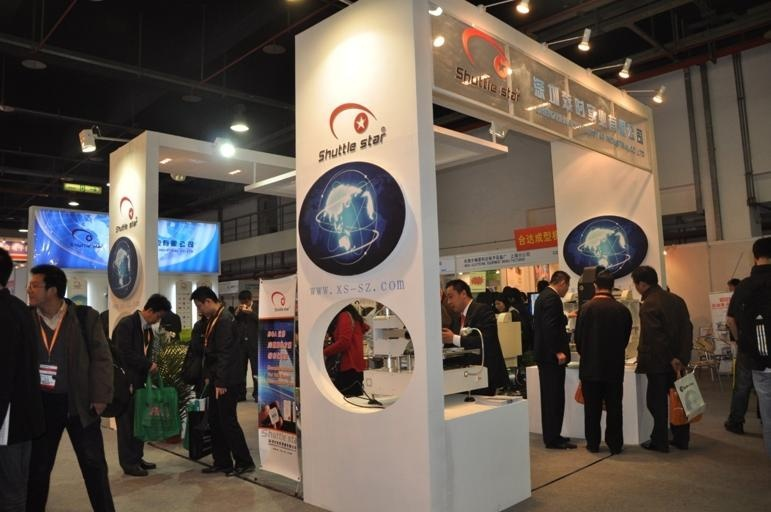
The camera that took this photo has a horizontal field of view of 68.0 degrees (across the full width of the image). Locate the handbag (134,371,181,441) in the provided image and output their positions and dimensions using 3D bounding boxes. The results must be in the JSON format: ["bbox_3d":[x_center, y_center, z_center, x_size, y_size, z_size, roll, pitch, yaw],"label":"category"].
[{"bbox_3d":[-2.647,1.730,6.590,0.491,0.791,0.323,-2,0,-23],"label":"handbag"}]

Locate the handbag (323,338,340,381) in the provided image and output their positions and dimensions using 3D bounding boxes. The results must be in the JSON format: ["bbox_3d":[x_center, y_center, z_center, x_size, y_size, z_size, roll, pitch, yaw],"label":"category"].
[{"bbox_3d":[-0.599,1.176,6.430,0.172,0.482,0.447,3,26,-8],"label":"handbag"}]

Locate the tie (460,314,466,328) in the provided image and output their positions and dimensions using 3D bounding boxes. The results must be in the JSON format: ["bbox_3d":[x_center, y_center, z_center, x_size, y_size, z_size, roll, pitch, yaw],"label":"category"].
[{"bbox_3d":[0.857,0.706,6.221,0.041,0.140,0.031,3,-13,25],"label":"tie"}]

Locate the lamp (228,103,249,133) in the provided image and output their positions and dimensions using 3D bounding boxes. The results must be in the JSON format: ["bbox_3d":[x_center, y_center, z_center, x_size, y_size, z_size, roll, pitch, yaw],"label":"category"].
[{"bbox_3d":[-2.551,-2.428,9.966,0.238,0.524,0.632,-2,0,-14],"label":"lamp"}]

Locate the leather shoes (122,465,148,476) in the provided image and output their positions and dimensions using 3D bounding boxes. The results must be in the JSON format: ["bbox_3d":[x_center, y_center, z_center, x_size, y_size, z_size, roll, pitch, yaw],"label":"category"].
[{"bbox_3d":[-2.816,2.416,6.432,0.235,0.090,0.122,0,-9,0],"label":"leather shoes"}]

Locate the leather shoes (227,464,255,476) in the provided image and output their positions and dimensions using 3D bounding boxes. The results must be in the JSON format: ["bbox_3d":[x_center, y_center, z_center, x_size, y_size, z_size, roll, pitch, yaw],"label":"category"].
[{"bbox_3d":[-1.601,2.374,6.358,0.283,0.126,0.103,11,-14,-28],"label":"leather shoes"}]

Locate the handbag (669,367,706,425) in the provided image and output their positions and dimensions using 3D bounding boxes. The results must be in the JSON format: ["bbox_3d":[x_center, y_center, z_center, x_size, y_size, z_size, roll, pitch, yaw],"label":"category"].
[{"bbox_3d":[3.403,1.628,6.450,0.374,0.527,0.261,-2,0,7],"label":"handbag"}]

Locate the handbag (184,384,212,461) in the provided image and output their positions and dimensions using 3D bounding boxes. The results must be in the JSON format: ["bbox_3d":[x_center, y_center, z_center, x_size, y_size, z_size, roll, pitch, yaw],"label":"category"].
[{"bbox_3d":[-2.170,2.000,6.678,0.222,0.808,0.497,-2,0,-32],"label":"handbag"}]
